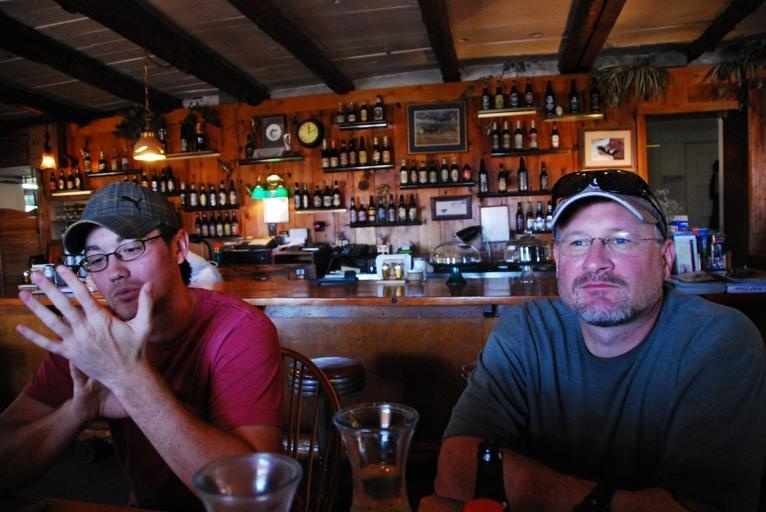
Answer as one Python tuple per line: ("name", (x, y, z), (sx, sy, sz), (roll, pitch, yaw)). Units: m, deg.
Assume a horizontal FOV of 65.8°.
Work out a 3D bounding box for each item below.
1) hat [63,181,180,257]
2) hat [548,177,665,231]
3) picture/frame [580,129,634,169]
("hat", (-1.113, -0.171, 2.522), (0.360, 0.239, 0.503), (-12, -8, 13))
("hat", (0.954, -0.230, 2.583), (0.491, 0.141, 0.490), (-2, -16, 26))
("picture/frame", (2.409, -1.144, 6.281), (0.601, 0.474, 0.062), (1, 0, 7))
